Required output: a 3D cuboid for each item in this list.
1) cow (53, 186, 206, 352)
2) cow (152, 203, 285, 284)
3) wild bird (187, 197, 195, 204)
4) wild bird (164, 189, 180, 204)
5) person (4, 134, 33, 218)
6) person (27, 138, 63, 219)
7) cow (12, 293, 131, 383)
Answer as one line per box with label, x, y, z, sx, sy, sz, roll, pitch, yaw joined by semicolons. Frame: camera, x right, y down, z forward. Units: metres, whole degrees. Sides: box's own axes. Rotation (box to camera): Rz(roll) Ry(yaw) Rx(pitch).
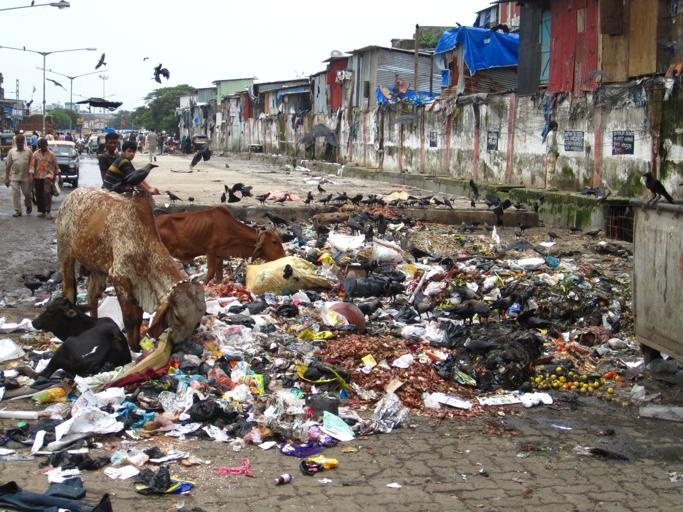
cow;-2.243;0.182;7.825;2.369;1.836;0.727;26;25;34
cow;-1.720;-0.179;10.149;2.246;1.511;0.789;2;7;-10
wild bird;-3.077;-1.139;15.293;0.096;0.203;0.318;-1;6;-9
wild bird;-3.437;-1.193;15.135;0.246;0.290;0.718;3;0;-14
person;-6.954;-1.810;16.088;0.641;2.233;0.588;-3;10;-24
person;-6.399;-1.700;16.028;0.587;1.774;0.559;-3;13;-23
cow;-2.581;0.834;7.206;0.872;0.636;0.718;14;1;26
